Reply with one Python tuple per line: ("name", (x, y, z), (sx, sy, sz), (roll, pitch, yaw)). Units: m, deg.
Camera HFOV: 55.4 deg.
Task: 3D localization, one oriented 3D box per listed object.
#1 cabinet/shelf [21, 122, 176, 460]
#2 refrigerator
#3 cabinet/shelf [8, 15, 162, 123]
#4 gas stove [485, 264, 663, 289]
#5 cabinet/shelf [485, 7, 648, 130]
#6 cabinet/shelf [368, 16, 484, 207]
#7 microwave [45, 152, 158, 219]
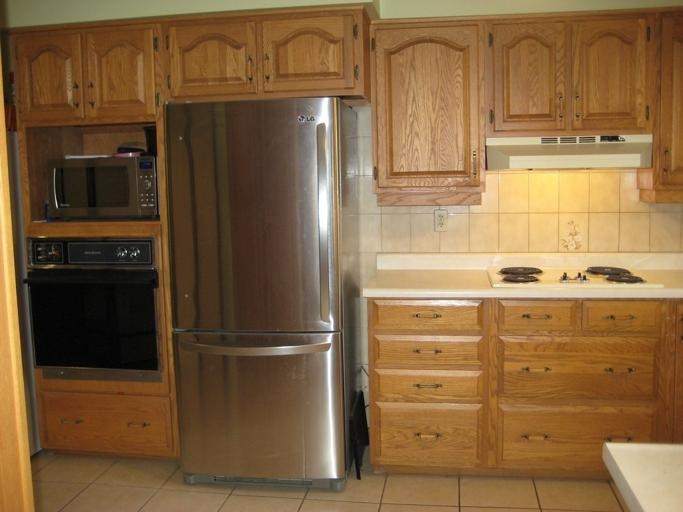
("cabinet/shelf", (-1.172, 0.223, 3.731), (1.060, 1.710, 0.773), (-5, 0, 30))
("refrigerator", (-0.433, 0.215, 3.253), (0.876, 1.962, 0.399), (-1, 15, 6))
("cabinet/shelf", (-1.314, -0.990, 3.415), (0.851, 0.362, 0.255), (0, 4, 4))
("gas stove", (1.218, 0.107, 3.472), (0.844, 0.038, 0.572), (0, 11, 8))
("cabinet/shelf", (1.089, -0.939, 3.505), (1.125, 0.611, 0.437), (-10, 18, -24))
("cabinet/shelf", (0.456, -0.785, 3.416), (0.596, 0.885, 0.158), (-1, 15, 6))
("microwave", (-1.189, -0.374, 3.609), (0.756, 0.321, 0.378), (1, 4, 25))
